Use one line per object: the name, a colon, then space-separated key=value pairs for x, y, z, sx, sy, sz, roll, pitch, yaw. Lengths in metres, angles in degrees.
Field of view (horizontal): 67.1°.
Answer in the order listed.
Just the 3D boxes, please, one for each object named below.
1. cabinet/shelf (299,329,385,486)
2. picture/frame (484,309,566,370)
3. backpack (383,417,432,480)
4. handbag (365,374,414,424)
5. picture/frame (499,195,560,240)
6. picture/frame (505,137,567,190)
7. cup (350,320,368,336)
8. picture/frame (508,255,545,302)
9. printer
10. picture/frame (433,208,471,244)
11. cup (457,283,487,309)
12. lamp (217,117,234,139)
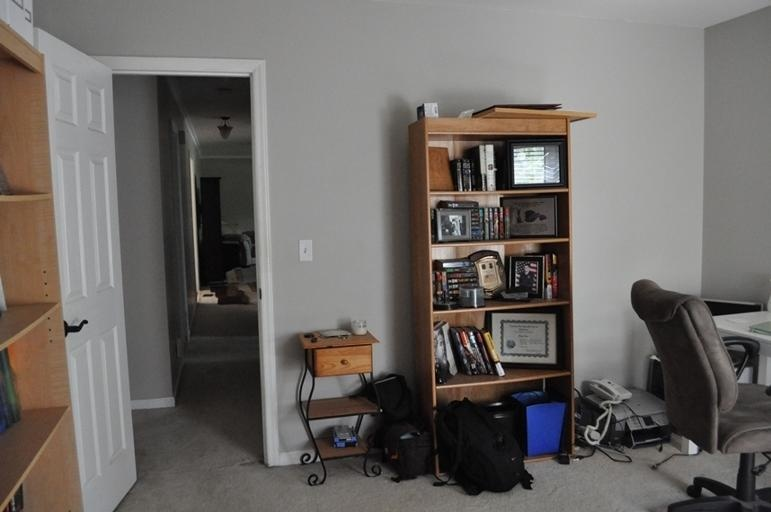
cabinet/shelf: x=-0.347 y=1.095 z=4.218 sx=0.630 sy=0.972 sz=0.479 roll=0 pitch=2 yaw=-31
picture/frame: x=1.072 y=0.644 z=4.396 sx=0.487 sy=0.388 sz=0.034 roll=1 pitch=-4 yaw=4
backpack: x=0.163 y=1.412 z=4.268 sx=0.305 sy=0.331 sz=0.399 roll=2 pitch=-2 yaw=-18
handbag: x=0.016 y=1.062 z=4.341 sx=0.342 sy=0.330 sz=0.132 roll=-17 pitch=-18 yaw=-29
picture/frame: x=1.094 y=-0.290 z=4.345 sx=0.367 sy=0.321 sz=0.304 roll=0 pitch=-4 yaw=3
picture/frame: x=1.081 y=-0.658 z=4.366 sx=0.519 sy=0.412 sz=0.273 roll=-3 pitch=-4 yaw=-13
cup: x=-0.197 y=0.518 z=4.227 sx=0.104 sy=0.075 sz=0.101 roll=1 pitch=1 yaw=0
picture/frame: x=1.076 y=0.172 z=4.404 sx=0.359 sy=0.419 sz=0.042 roll=1 pitch=-2 yaw=7
printer: x=1.862 y=1.301 z=4.610 sx=0.666 sy=0.341 sz=0.581 roll=1 pitch=6 yaw=-26
picture/frame: x=0.469 y=-0.210 z=4.200 sx=0.249 sy=0.217 sz=0.085 roll=4 pitch=-11 yaw=-18
cup: x=0.630 y=0.290 z=4.240 sx=0.160 sy=0.131 sz=0.155 roll=0 pitch=4 yaw=0
lamp: x=-2.337 y=-1.862 z=8.443 sx=0.164 sy=0.307 sz=0.774 roll=-5 pitch=14 yaw=-15
